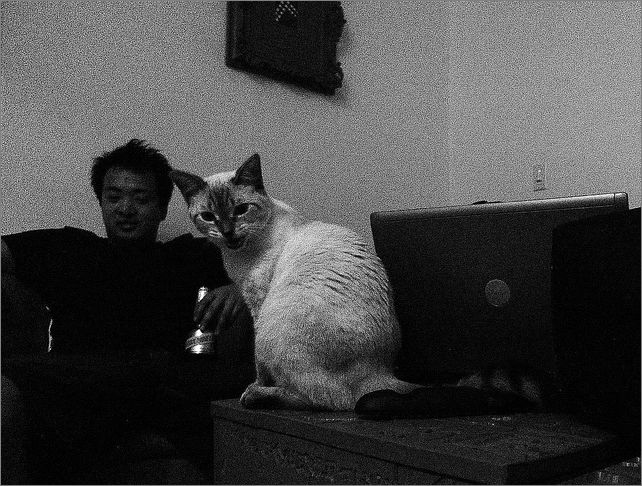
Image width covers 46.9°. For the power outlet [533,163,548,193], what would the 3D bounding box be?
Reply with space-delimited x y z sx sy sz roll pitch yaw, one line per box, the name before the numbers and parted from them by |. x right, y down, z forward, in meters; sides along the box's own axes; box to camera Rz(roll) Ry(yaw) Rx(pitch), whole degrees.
power outlet | 0.830 -0.248 2.792 0.022 0.106 0.069 -2 3 -26

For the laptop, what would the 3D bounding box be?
laptop | 0.469 0.041 1.892 0.583 0.477 0.425 -2 22 22
